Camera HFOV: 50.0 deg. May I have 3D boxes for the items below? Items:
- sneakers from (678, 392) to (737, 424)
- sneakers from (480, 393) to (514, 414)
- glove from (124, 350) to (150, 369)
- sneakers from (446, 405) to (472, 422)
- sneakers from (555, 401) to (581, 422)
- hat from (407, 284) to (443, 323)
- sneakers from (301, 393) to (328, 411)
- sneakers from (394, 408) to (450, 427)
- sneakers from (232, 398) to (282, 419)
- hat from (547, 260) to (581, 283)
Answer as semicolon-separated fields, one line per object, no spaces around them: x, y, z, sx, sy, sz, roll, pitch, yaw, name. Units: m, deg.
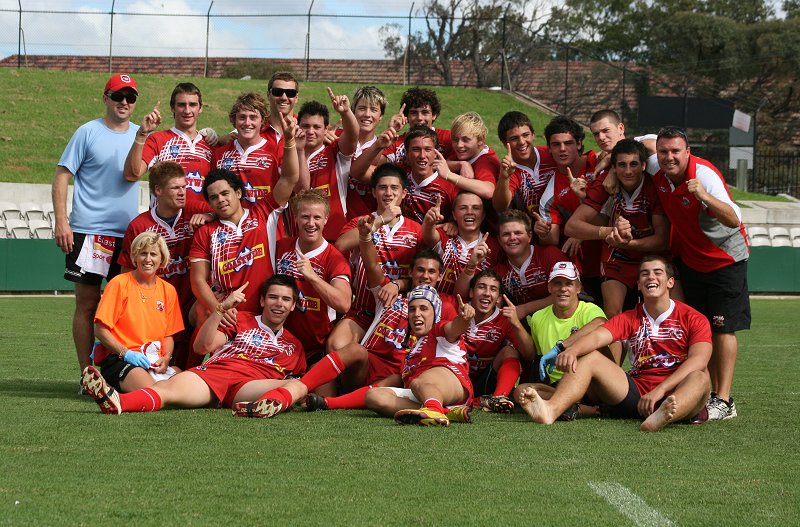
3.057;1.448;8.596;0.648;0.287;0.242;1;-10;-25;sneakers
0.987;1.445;8.756;0.406;0.143;0.192;-12;19;31;sneakers
-2.695;0.977;8.860;0.239;0.166;0.055;34;-33;-8;glove
0.576;1.446;8.405;0.232;0.198;0.308;1;13;3;sneakers
1.632;1.455;8.357;0.104;0.116;0.292;-18;14;43;sneakers
0.265;0.387;8.979;0.340;0.371;0.397;1;13;4;hat
-0.863;1.403;8.771;0.255;0.193;0.145;-1;13;-6;sneakers
0.211;1.454;8.131;0.374;0.163;0.207;13;-18;1;sneakers
-1.357;1.386;8.396;0.529;0.190;0.236;-1;6;7;sneakers
1.699;0.069;8.953;0.278;0.193;0.273;3;14;13;hat
